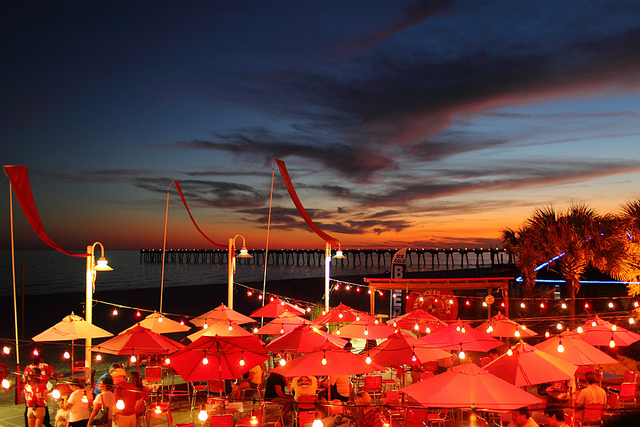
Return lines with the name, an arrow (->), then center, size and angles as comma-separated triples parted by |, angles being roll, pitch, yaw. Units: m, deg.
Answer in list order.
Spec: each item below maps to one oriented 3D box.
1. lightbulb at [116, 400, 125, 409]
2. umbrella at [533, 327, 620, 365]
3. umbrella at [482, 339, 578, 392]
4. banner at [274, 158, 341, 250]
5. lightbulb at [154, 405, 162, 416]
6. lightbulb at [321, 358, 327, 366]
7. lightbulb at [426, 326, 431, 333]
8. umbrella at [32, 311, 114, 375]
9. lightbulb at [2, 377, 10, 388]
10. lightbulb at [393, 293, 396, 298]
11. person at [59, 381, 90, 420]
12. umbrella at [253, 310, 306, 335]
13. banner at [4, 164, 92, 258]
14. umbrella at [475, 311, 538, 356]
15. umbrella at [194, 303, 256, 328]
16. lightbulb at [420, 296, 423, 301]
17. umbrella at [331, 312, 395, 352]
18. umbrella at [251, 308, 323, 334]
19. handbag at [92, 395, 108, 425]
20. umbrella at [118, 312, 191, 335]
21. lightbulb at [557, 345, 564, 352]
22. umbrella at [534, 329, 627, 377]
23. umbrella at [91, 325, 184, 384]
lightbulb -> -7.900, 7.510, 32.143 | 0.315, 0.360, 0.454 | -1, -10, -14
umbrella -> 11.405, 5.800, 35.615 | 2.887, 0.883, 2.712 | -1, -4, 6
umbrella -> 8.497, 6.056, 33.608 | 4.709, 1.922, 4.306 | -4, 2, 5
banner -> -0.626, -0.729, 38.840 | 2.581, 3.941, 6.716 | -4, -10, 1
lightbulb -> -6.662, 8.010, 33.349 | 0.386, 0.474, 0.137 | -2, -21, -6
lightbulb -> 0.180, 5.956, 32.853 | 0.228, 0.235, 0.254 | 1, -11, -7
lightbulb -> 5.181, 5.481, 38.646 | 0.229, 0.419, 0.213 | -2, 2, 1
umbrella -> -11.112, 5.639, 36.545 | 3.344, 2.569, 3.040 | -5, 15, -29
lightbulb -> -12.748, 6.815, 32.955 | 0.263, 0.410, 0.332 | 0, -11, -19
lightbulb -> 4.365, 4.699, 47.199 | 0.102, 0.262, 0.206 | -9, -12, 27
person -> -9.716, 7.450, 32.596 | 0.821, 1.541, 0.635 | 1, -12, -24
umbrella -> -1.870, 5.203, 39.140 | 2.460, 0.881, 2.281 | -1, -3, 0
banner -> -12.506, -0.277, 34.983 | 1.996, 3.475, 0.891 | 1, -12, -22
umbrella -> 8.884, 5.733, 38.586 | 2.319, 1.389, 2.207 | -1, -1, -11
umbrella -> -5.395, 5.696, 45.837 | 3.670, 1.149, 3.473 | 0, -6, 10
lightbulb -> 5.974, 4.924, 47.444 | 0.210, 0.247, 0.078 | -2, -16, 6
umbrella -> 2.179, 5.562, 38.078 | 1.957, 0.976, 1.934 | -4, -1, 13
umbrella -> -1.593, 5.165, 39.343 | 3.506, 0.944, 2.909 | 0, -5, -20
handbag -> -8.775, 7.811, 32.470 | 0.560, 1.196, 1.002 | 11, -20, -38
umbrella -> -7.432, 5.105, 37.845 | 1.701, 0.762, 1.640 | -2, 0, 22
lightbulb -> 10.283, 5.705, 34.577 | 0.289, 0.330, 0.267 | -1, 4, -10
umbrella -> 11.104, 6.064, 35.824 | 4.014, 2.246, 3.792 | 3, -1, 15
umbrella -> -7.465, 6.195, 35.833 | 3.666, 2.352, 3.344 | -8, -3, -18
